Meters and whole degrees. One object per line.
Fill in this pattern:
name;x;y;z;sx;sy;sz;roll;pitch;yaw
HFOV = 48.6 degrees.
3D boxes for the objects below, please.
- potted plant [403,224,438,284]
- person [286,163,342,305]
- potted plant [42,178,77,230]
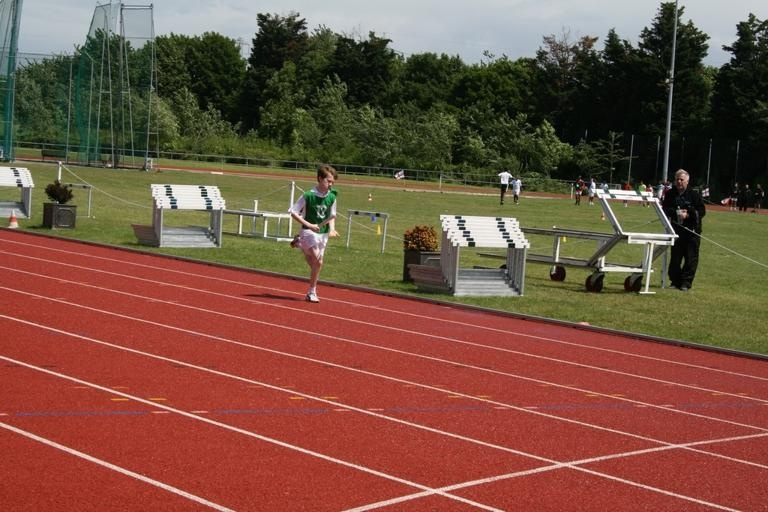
potted plant;0.833;-0.032;18.971;0.735;1.255;0.908;2;10;-7
person;-1.186;-0.382;15.547;0.890;2.499;1.105;1;-2;-38
potted plant;-9.619;-1.521;25.062;0.921;1.349;1.127;-1;10;-23
